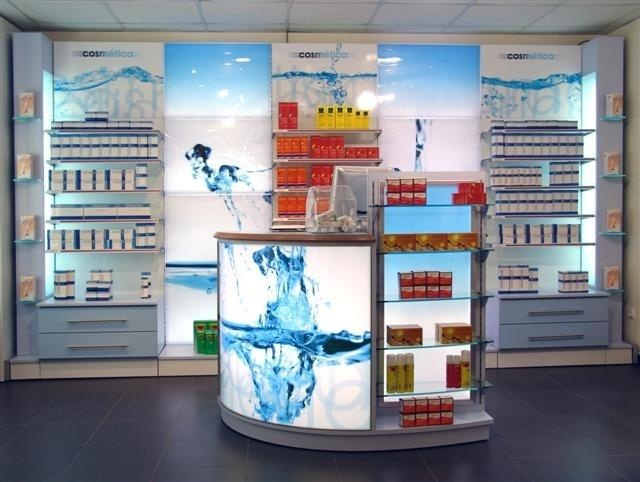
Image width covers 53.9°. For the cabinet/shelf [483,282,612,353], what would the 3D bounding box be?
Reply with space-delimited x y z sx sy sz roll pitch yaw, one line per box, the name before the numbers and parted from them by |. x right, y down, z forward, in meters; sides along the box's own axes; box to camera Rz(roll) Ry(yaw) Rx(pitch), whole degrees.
cabinet/shelf | 2.576 0.885 7.082 1.344 0.610 0.281 -1 15 -2

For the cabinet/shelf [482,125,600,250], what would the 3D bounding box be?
cabinet/shelf | 2.521 -0.644 7.159 1.589 1.688 0.634 0 -2 -3

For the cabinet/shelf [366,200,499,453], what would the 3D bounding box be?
cabinet/shelf | 0.981 0.706 5.396 1.114 2.037 0.720 0 15 1

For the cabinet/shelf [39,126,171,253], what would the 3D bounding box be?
cabinet/shelf | -2.468 -0.590 6.982 1.586 1.596 0.590 0 3 -4

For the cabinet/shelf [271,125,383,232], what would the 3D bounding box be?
cabinet/shelf | 0.047 -0.638 6.345 1.334 1.099 0.412 1 1 -8
